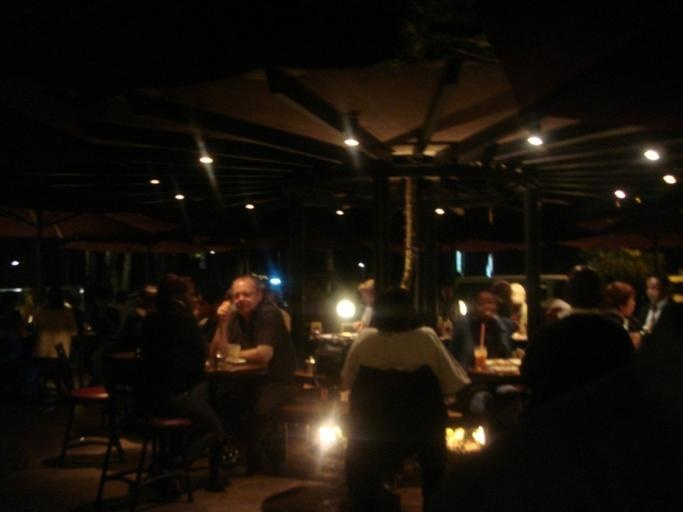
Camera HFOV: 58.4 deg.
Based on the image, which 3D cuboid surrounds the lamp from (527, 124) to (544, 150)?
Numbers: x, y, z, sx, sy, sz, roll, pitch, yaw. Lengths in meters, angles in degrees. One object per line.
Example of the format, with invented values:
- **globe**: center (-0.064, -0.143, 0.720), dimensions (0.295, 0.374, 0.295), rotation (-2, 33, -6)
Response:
- **lamp**: center (1.915, -1.199, 6.028), dimensions (0.181, 0.173, 0.175), rotation (1, 5, 10)

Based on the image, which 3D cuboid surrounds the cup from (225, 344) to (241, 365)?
- **cup**: center (-1.244, 1.130, 7.067), dimensions (0.195, 0.170, 0.187), rotation (1, -13, 0)
